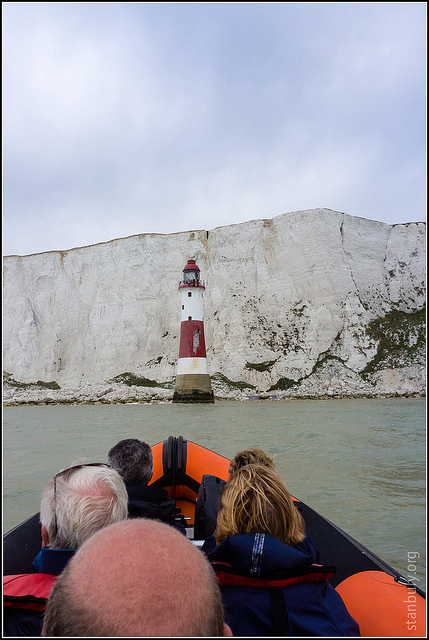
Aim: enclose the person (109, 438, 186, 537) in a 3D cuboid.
[{"bbox_3d":[-0.420,1.041,3.767,0.620,0.359,0.949,2,-28,4],"label":"person"}]
